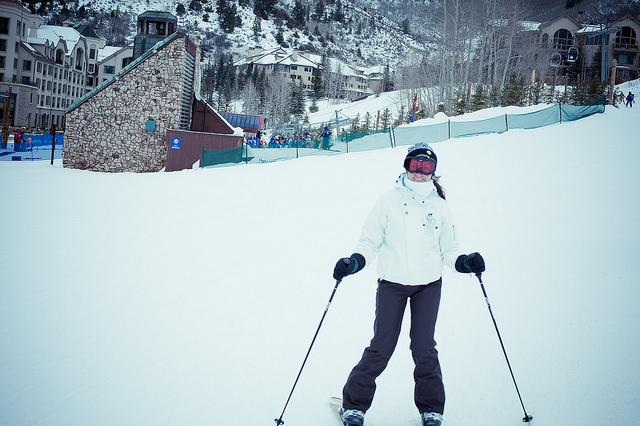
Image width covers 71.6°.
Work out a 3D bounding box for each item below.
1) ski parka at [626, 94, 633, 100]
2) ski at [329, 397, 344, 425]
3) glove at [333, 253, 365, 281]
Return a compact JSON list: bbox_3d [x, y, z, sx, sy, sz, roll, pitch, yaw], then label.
[{"bbox_3d":[22.136,-8.204,31.660,0.301,0.382,0.742,4,9,33],"label":"ski parka"},{"bbox_3d":[0.236,2.475,5.591,0.095,0.130,0.307,8,35,-34],"label":"ski"},{"bbox_3d":[0.293,0.693,5.547,0.232,0.165,0.423,-22,-25,-10],"label":"glove"}]
